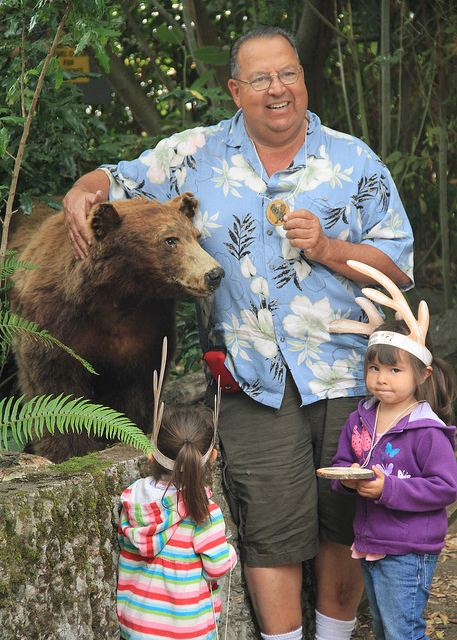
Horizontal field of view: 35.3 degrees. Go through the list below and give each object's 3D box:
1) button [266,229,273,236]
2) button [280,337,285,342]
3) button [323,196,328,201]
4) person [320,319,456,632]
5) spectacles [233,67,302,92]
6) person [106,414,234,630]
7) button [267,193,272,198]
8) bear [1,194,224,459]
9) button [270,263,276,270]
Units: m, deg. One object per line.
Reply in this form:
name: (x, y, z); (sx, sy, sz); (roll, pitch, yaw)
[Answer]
button: (0.143, -0.310, 2.493); (0.028, 0.022, 0.006); (-2, -2, -2)
button: (0.189, 0.065, 2.516); (0.023, 0.018, 0.005); (0, 5, -21)
button: (0.339, -0.428, 2.502); (0.020, 0.015, 0.004); (8, -5, 4)
person: (0.523, 0.520, 2.328); (0.415, 1.029, 0.597); (-3, 3, 6)
spectacles: (0.139, -0.821, 2.454); (0.212, 0.081, 0.068); (-2, 3, 9)
person: (-0.195, 0.621, 2.196); (0.382, 0.660, 0.219); (-4, 3, -8)
button: (0.147, -0.441, 2.517); (0.016, 0.016, 0.005); (-3, 3, 1)
bear: (-0.462, -0.016, 2.528); (0.633, 0.923, 1.244); (-2, 9, -31)
button: (0.155, -0.190, 2.500); (0.029, 0.022, 0.006); (-2, -1, -3)
